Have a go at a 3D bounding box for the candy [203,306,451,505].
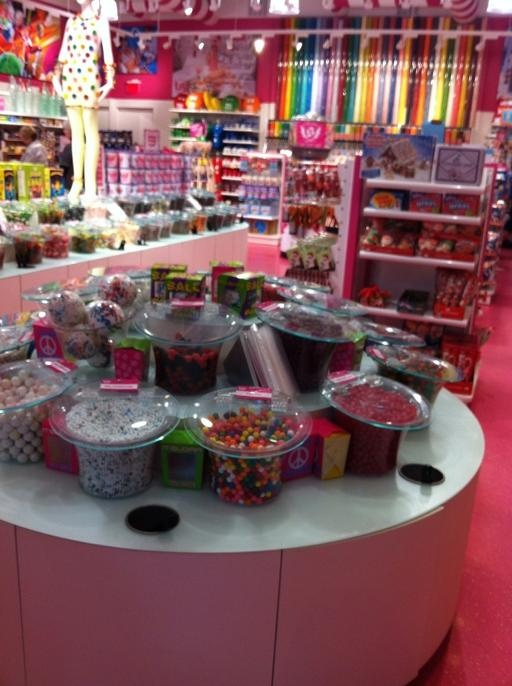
[{"bbox_3d":[0.160,0.254,1.300,0.706,0.231,0.338,-3,15,-27],"label":"candy"}]
